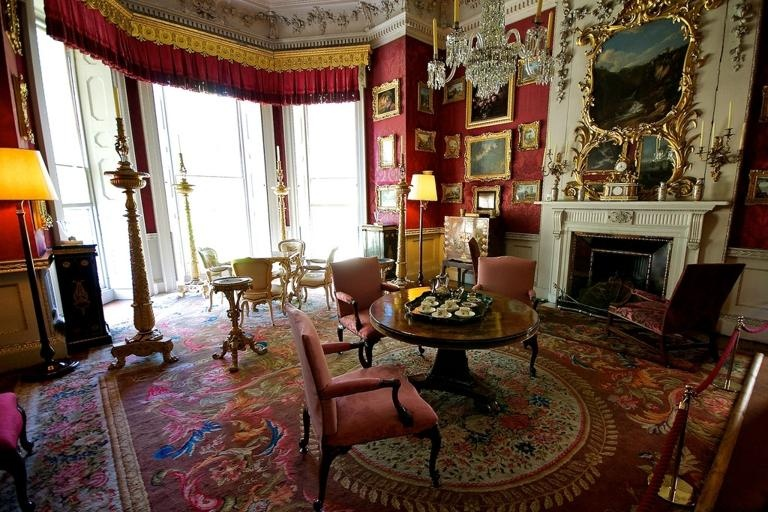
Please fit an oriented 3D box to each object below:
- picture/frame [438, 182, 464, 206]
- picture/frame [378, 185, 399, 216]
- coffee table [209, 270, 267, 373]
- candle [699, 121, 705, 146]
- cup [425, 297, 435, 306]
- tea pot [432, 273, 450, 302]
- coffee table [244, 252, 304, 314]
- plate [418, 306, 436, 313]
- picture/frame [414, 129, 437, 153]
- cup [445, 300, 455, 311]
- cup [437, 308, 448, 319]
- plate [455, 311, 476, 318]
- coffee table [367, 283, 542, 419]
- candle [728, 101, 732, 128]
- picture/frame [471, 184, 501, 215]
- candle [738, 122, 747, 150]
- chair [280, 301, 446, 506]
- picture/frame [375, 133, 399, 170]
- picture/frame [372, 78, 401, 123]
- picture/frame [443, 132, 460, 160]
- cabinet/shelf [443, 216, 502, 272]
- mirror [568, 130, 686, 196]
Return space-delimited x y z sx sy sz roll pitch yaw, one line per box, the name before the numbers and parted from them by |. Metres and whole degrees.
picture/frame | 1.157 -1.095 8.580 0.053 0.337 0.473 -13 12 -42
picture/frame | 0.085 -0.946 8.303 0.065 0.520 0.615 -9 12 -42
coffee table | -1.797 0.773 6.074 0.612 1.037 0.675 -11 12 -38
candle | 3.991 -1.547 6.279 0.053 0.317 0.038 2 12 30
cup | 0.488 0.476 5.331 0.091 0.041 0.087 -3 14 1
tea pot | 0.694 0.336 5.584 0.203 0.248 0.278 -1 -4 28
coffee table | -1.539 0.395 6.943 0.799 0.899 0.707 3 22 6
plate | 0.437 0.545 5.158 0.104 0.021 0.095 -3 11 -12
picture/frame | 0.671 -1.935 8.314 0.054 0.318 0.504 10 12 43
cup | 0.692 0.508 5.226 0.099 0.058 0.097 0 16 0
cup | 0.585 0.579 5.083 0.093 0.056 0.085 1 9 0
plate | 0.818 0.576 5.067 0.198 0.057 0.148 -1 7 11
coffee table | 0.692 1.048 5.116 1.459 0.716 1.322 -3 13 -3
candle | 4.236 -1.732 6.117 0.050 0.299 0.040 2 11 28
picture/frame | 1.668 -0.944 8.110 0.066 0.495 0.551 -11 14 -44
candle | 4.348 -1.466 6.061 0.051 0.323 0.067 5 13 40
chair | -0.007 1.133 5.439 1.964 2.067 1.594 -5 15 -17
picture/frame | 0.055 -1.752 8.257 0.081 0.693 0.719 -3 4 -38
picture/frame | 0.055 -2.563 8.140 0.875 0.757 0.071 6 9 44
picture/frame | 1.143 -1.888 8.461 0.052 0.510 0.500 -9 12 -43
cabinet/shelf | 1.360 -0.209 7.517 0.501 0.742 0.887 -5 9 -41
mirror | 3.315 -1.269 6.697 1.136 0.584 0.025 3 -2 39
